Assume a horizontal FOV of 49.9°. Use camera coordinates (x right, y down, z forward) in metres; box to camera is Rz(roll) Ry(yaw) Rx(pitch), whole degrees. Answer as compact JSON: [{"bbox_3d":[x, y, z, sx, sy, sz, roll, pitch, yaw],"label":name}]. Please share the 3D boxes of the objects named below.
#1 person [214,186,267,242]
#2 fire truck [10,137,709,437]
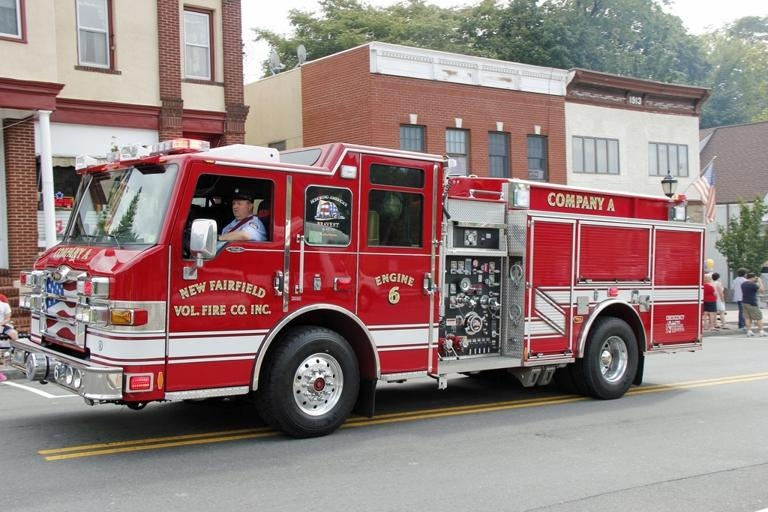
[{"bbox_3d":[-2.080,-0.608,12.426,0.796,0.803,1.206,2,8,-28],"label":"person"},{"bbox_3d":[0.290,0.302,14.382,12.239,4.409,3.058,-3,9,-28],"label":"fire truck"}]
